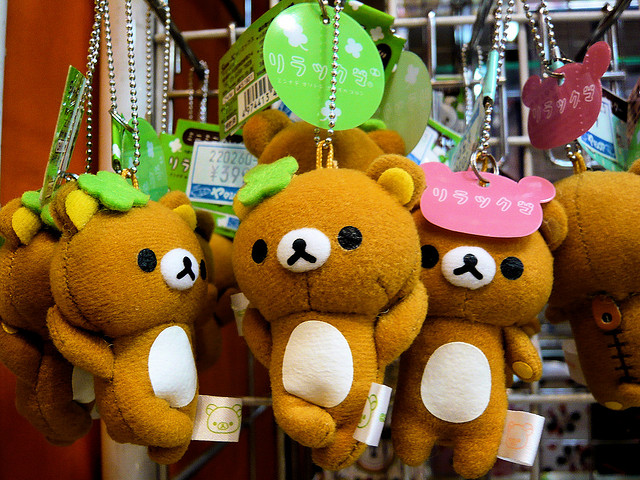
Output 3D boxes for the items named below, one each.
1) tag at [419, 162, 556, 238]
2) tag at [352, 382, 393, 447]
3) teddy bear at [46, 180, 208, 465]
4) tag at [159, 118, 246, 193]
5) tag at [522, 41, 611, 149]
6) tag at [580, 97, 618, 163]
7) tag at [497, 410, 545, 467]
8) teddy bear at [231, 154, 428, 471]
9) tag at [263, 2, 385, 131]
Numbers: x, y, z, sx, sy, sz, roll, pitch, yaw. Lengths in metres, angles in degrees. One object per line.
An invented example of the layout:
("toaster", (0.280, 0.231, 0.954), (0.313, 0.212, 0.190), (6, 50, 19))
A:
("tag", (0.255, -0.058, 1.113), (0.141, 0.004, 0.083), (11, 57, 4))
("tag", (0.080, 0.265, 1.069), (0.038, 0.105, 0.066), (15, 27, 24))
("teddy bear", (-0.297, 0.134, 1.106), (0.237, 0.398, 0.208), (-1, 25, -10))
("tag", (-0.211, -0.166, 1.433), (0.222, 0.213, 0.018), (5, 43, 8))
("tag", (0.404, -0.235, 1.198), (0.038, 0.161, 0.187), (15, -20, -33))
("tag", (0.500, -0.186, 1.266), (0.026, 0.114, 0.089), (-15, 25, 51))
("tag", (0.319, 0.317, 1.134), (0.063, 0.072, 0.065), (9, -15, 17))
("teddy bear", (0.011, 0.100, 1.091), (0.299, 0.426, 0.259), (2, 25, -4))
("tag", (0.001, -0.279, 1.152), (0.211, 0.290, 0.033), (6, -15, -22))
